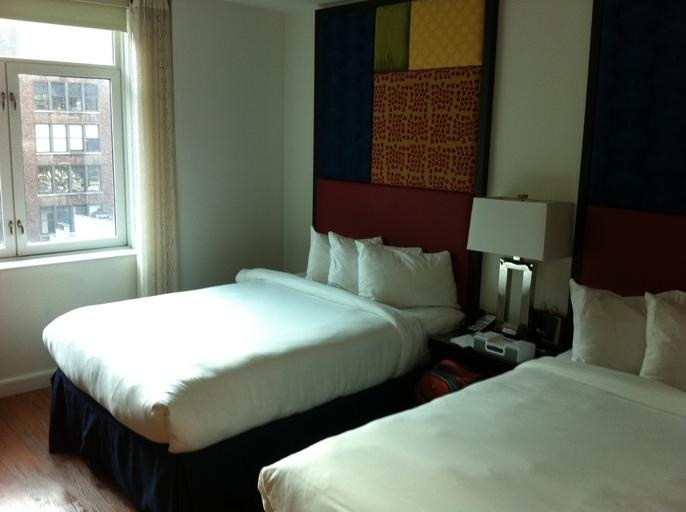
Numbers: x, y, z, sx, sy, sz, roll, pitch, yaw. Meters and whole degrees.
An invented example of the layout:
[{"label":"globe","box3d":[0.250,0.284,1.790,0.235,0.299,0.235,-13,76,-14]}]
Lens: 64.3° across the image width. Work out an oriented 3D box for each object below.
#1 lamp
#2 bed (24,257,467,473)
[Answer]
[{"label":"lamp","box3d":[1.209,0.022,3.661,0.625,1.157,0.366,18,23,41]},{"label":"bed","box3d":[-0.540,0.553,3.296,1.455,0.394,1.325,-10,12,-39]}]
